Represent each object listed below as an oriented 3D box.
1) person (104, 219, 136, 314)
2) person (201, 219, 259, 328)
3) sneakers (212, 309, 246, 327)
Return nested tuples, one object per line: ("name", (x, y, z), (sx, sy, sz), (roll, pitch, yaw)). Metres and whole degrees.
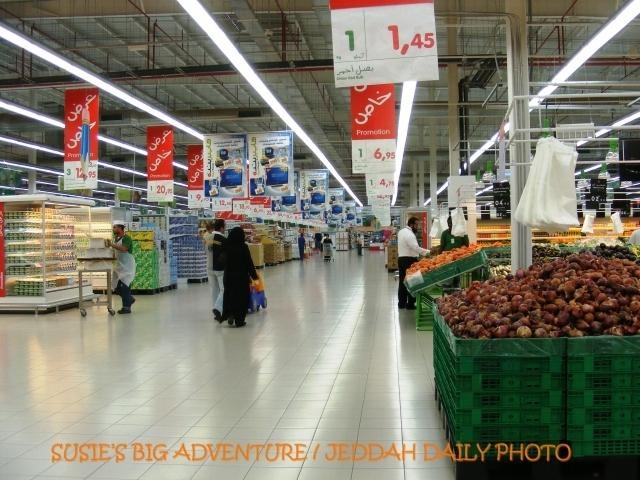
("person", (-3.992, 0.593, 10.832), (0.502, 1.800, 0.714), (-2, 4, -20))
("person", (-1.541, 0.574, 9.552), (0.556, 1.836, 0.943), (-3, 4, -28))
("sneakers", (-1.554, 1.366, 9.347), (0.402, 0.119, 0.174), (27, 20, 26))
